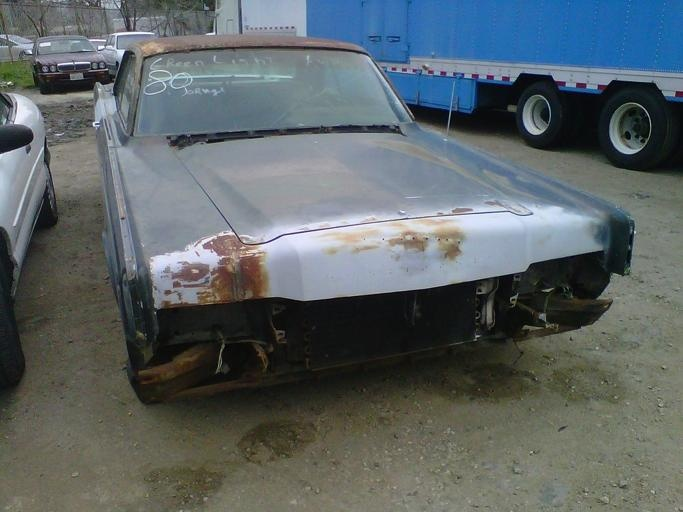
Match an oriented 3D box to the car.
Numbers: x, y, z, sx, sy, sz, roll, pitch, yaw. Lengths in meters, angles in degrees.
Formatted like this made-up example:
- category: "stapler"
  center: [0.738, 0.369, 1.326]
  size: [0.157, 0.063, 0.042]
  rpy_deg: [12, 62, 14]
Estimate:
- category: "car"
  center: [-0.151, -0.570, 4.001]
  size: [2.958, 1.784, 2.901]
  rpy_deg: [-11, 25, -20]
